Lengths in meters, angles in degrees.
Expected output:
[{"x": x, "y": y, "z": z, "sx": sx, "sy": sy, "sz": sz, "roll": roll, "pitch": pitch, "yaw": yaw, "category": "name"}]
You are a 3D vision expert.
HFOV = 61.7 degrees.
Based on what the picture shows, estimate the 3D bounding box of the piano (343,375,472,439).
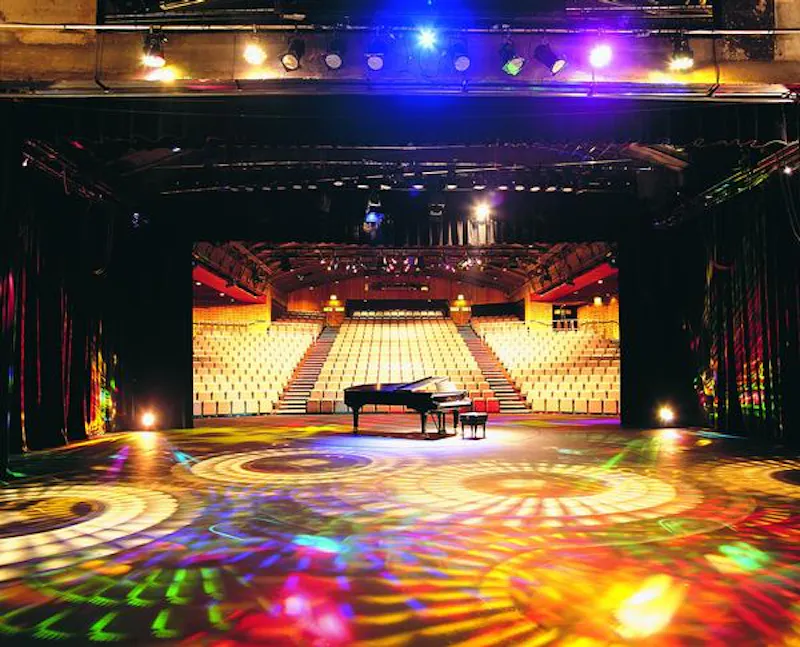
[{"x": 0.069, "y": 0.871, "z": 7.661, "sx": 1.189, "sy": 0.564, "sz": 0.788, "roll": -2, "pitch": -5, "yaw": 26, "category": "piano"}]

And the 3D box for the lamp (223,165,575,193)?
[{"x": 0.082, "y": -1.724, "z": 7.788, "sx": 3.855, "sy": 0.230, "sz": 0.388, "roll": 0, "pitch": 4, "yaw": -1, "category": "lamp"}]

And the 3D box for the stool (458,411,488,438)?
[{"x": 0.877, "y": 1.125, "z": 7.658, "sx": 0.408, "sy": 0.350, "sz": 0.350, "roll": 0, "pitch": -15, "yaw": -2, "category": "stool"}]
